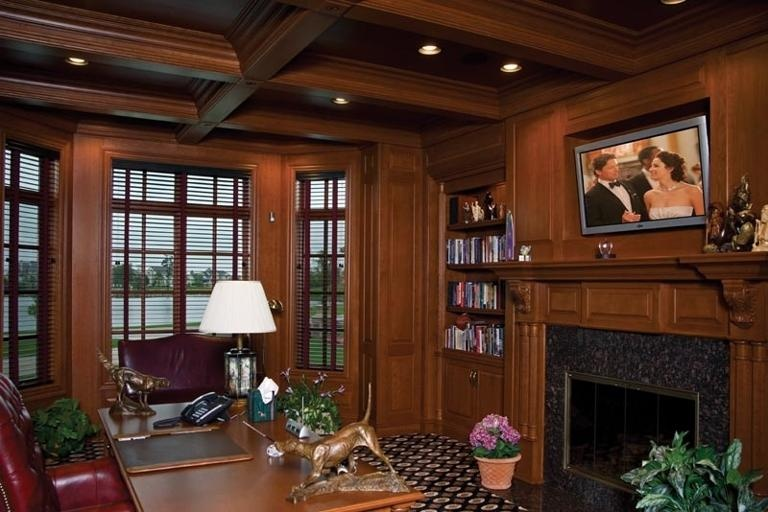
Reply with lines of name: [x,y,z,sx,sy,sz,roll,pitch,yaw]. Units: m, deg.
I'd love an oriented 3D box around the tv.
tv: [2.258,-0.693,4.695,1.269,0.864,0.094,-1,2,44]

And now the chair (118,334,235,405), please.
chair: [-2.380,1.236,6.380,1.540,0.719,0.714,2,-8,-21]

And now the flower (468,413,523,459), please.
flower: [1.121,1.770,5.455,0.447,0.346,0.409,5,-8,-29]

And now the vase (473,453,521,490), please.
vase: [1.099,2.094,5.368,0.369,0.200,0.335,1,-8,-2]
